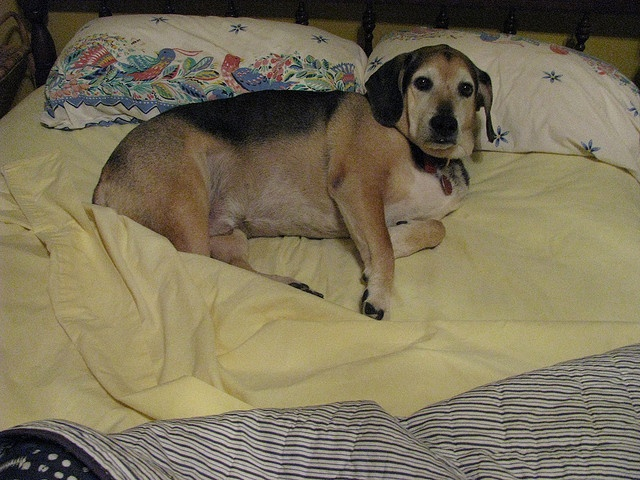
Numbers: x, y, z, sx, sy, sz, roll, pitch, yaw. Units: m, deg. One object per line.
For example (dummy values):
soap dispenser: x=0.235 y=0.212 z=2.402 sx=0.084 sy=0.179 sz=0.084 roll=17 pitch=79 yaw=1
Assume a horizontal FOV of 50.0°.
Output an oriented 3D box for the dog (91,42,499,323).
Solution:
dog: x=-0.018 y=-0.461 z=3.948 sx=2.242 sy=1.703 sz=1.047 roll=3 pitch=20 yaw=-2
